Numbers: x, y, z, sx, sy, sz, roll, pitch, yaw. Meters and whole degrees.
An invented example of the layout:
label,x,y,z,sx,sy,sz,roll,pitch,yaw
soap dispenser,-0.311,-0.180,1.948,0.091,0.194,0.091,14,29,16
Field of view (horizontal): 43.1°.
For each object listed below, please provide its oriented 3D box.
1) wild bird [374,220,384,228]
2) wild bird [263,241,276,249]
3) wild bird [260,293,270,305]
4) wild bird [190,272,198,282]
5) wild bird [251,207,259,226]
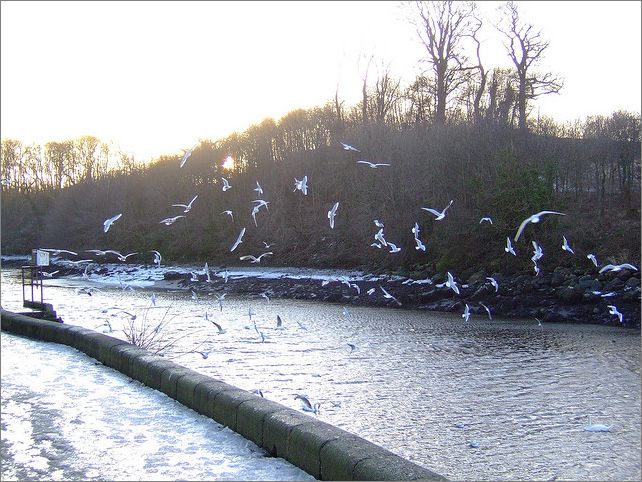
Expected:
label,x,y,z,sx,sy,sz,roll,pitch,yaw
wild bird,2.719,-0.852,36.651,0.397,0.290,0.971,18,1,17
wild bird,-2.888,0.206,46.596,0.538,0.278,0.922,-5,10,-42
wild bird,-2.156,2.255,32.882,0.293,0.183,1.226,-3,4,-10
wild bird,-6.063,1.698,39.230,0.209,0.455,0.457,5,19,3
wild bird,-3.432,-1.322,43.594,0.647,0.387,1.064,10,31,-8
